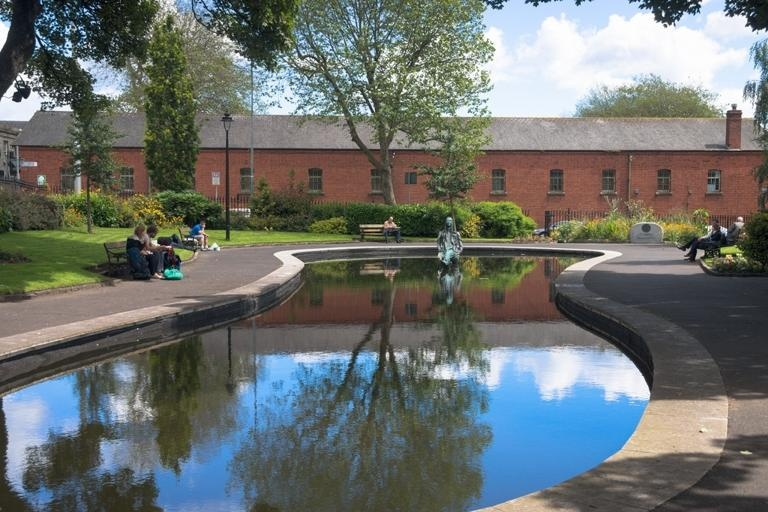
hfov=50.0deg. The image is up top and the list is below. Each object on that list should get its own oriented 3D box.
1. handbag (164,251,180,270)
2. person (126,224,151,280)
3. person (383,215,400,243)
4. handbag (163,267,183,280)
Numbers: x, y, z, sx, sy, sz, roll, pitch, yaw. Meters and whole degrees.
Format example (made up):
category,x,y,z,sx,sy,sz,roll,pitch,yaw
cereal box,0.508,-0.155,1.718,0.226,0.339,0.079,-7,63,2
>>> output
category,x,y,z,sx,sy,sz,roll,pitch,yaw
handbag,-5.695,0.148,22.349,0.316,0.518,0.498,1,-7,-2
person,-6.412,-0.107,21.617,0.649,1.426,0.494,-2,3,-36
person,0.420,-1.248,39.410,0.741,1.202,2.233,-1,2,-1
handbag,-5.503,0.470,21.559,0.456,0.269,0.307,-1,2,-15
